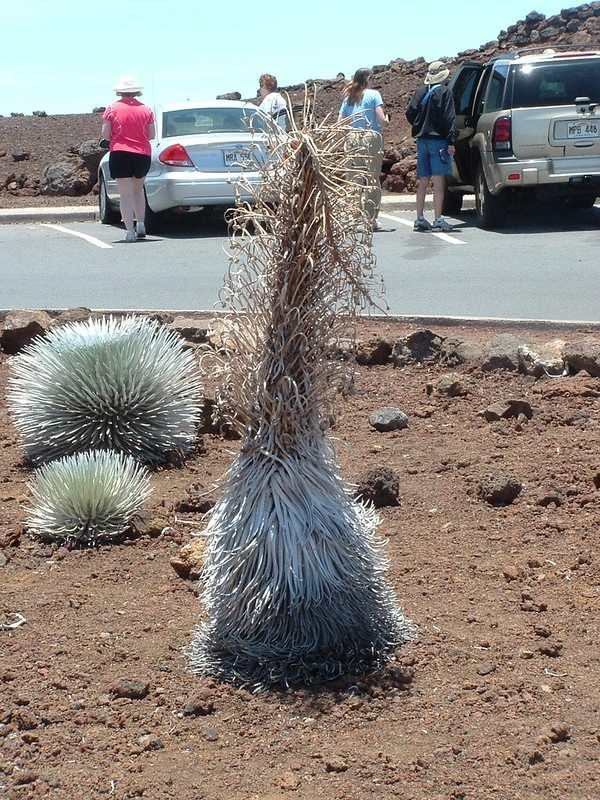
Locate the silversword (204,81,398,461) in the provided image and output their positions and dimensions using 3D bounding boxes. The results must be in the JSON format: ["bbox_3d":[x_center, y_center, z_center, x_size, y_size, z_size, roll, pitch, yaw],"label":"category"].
[{"bbox_3d":[-0.017,-0.389,2.955,0.556,1.039,0.490,-4,11,-3],"label":"silversword"}]

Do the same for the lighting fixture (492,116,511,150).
[{"bbox_3d":[2.098,-2.759,10.208,0.080,0.356,0.231,-14,15,-41],"label":"lighting fixture"}]

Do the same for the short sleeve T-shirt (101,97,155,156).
[{"bbox_3d":[-1.753,-2.835,10.188,0.506,0.586,0.308,-5,11,-9],"label":"short sleeve T-shirt"}]

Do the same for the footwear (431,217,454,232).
[{"bbox_3d":[1.625,-2.042,11.469,0.325,0.183,0.114,-8,34,-17],"label":"footwear"}]

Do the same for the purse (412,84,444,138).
[{"bbox_3d":[1.265,-2.980,10.126,0.130,0.463,0.360,21,20,5],"label":"purse"}]

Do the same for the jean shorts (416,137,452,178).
[{"bbox_3d":[1.413,-2.556,10.306,0.336,0.403,0.239,19,48,33],"label":"jean shorts"}]

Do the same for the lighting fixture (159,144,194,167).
[{"bbox_3d":[-1.392,-2.730,11.044,0.423,0.263,0.103,3,13,30],"label":"lighting fixture"}]

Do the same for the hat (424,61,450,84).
[{"bbox_3d":[1.427,-3.412,10.244,0.246,0.279,0.358,-2,10,8],"label":"hat"}]

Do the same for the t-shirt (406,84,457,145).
[{"bbox_3d":[1.415,-2.970,10.148,0.381,0.568,0.629,-16,28,-36],"label":"t-shirt"}]

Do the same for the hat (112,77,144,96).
[{"bbox_3d":[-1.756,-3.220,10.082,0.235,0.170,0.429,-5,10,-11],"label":"hat"}]

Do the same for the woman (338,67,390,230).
[{"bbox_3d":[0.502,-2.026,7.996,0.482,1.295,0.444,-1,-13,14],"label":"woman"}]
